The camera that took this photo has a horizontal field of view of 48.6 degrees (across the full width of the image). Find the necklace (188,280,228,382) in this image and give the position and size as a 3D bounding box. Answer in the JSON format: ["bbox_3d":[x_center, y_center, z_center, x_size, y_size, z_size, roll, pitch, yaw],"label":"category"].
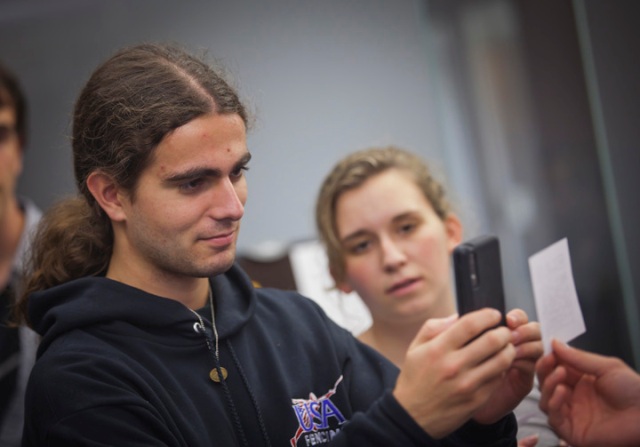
[{"bbox_3d":[-0.303,0.310,1.980,0.076,0.222,0.016,-9,-14,-24],"label":"necklace"}]

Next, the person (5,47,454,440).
[{"bbox_3d":[-0.420,0.084,2.267,1.296,1.031,0.942,-4,4,32],"label":"person"}]

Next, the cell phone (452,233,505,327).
[{"bbox_3d":[0.410,0.136,1.812,0.146,0.234,0.062,-11,-2,-21],"label":"cell phone"}]
